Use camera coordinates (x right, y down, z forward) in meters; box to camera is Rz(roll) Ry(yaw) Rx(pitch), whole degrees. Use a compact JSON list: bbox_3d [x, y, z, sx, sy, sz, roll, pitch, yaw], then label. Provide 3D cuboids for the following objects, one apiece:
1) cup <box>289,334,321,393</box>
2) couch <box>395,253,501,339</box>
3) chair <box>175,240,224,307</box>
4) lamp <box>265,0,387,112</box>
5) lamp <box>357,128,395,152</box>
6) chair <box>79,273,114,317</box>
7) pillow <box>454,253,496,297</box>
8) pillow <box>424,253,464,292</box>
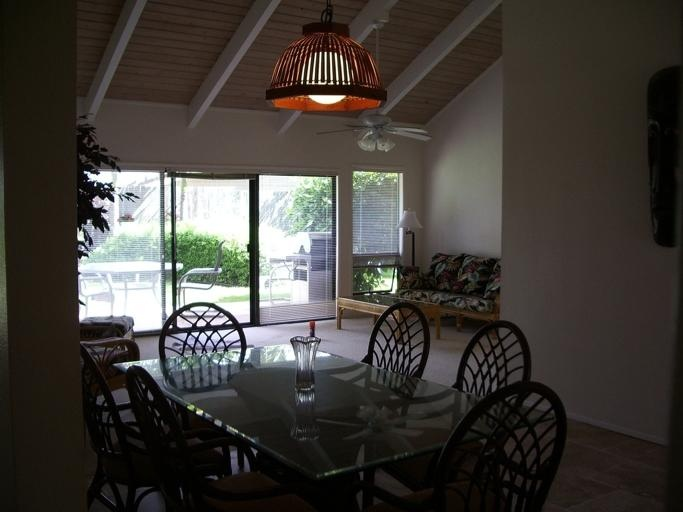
[{"bbox_3d":[-0.153,0.454,2.206,0.135,0.203,0.136,0,-5,0],"label":"cup"},{"bbox_3d":[1.554,0.453,7.060,1.436,0.792,0.613,7,13,44],"label":"couch"},{"bbox_3d":[-1.968,0.317,7.296,0.596,1.052,0.561,1,11,-12],"label":"chair"},{"bbox_3d":[-0.072,-0.890,2.211,0.485,0.564,0.453,0,0,-7],"label":"lamp"},{"bbox_3d":[0.349,-1.266,5.606,0.329,0.263,0.488,0,0,16],"label":"lamp"},{"bbox_3d":[-3.044,0.472,6.508,0.389,0.368,0.284,0,0,-28],"label":"chair"},{"bbox_3d":[1.776,0.269,6.944,0.188,0.500,0.473,24,-7,-34],"label":"pillow"},{"bbox_3d":[1.473,0.241,7.409,0.195,0.511,0.487,27,-12,-30],"label":"pillow"}]
